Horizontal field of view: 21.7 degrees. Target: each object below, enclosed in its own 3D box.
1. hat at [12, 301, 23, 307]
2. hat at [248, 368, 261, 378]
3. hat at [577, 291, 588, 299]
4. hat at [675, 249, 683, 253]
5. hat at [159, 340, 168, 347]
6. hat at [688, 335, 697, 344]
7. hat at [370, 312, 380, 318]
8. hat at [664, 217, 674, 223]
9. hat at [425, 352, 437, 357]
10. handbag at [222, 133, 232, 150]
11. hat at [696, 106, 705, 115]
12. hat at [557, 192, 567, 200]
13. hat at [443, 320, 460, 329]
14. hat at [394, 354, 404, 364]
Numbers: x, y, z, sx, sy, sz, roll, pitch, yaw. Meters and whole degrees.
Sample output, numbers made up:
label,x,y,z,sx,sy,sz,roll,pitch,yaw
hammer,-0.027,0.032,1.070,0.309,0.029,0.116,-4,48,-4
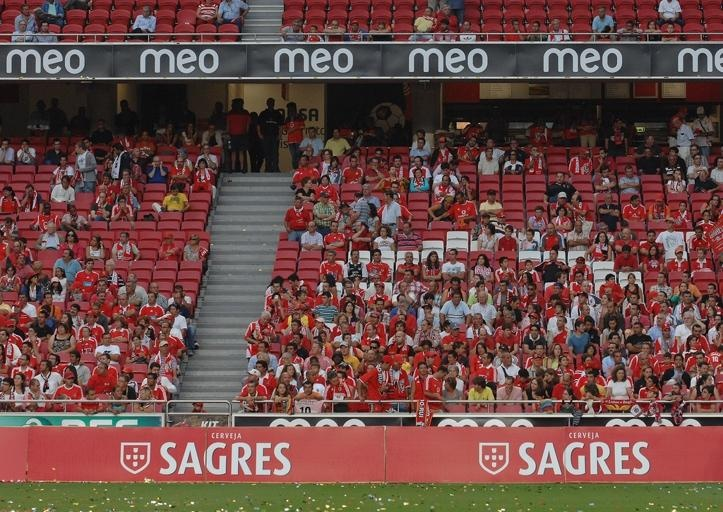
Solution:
label,x,y,z,sx,sy,sz,roll,pitch,yaw
hat,-7.481,1.069,40.887,0.114,0.083,0.180,11,23,12
hat,-2.246,2.441,39.060,0.203,0.084,0.148,31,-17,-27
hat,4.721,0.856,40.433,0.117,0.146,0.145,-7,20,35
hat,7.012,-0.081,41.717,0.131,0.095,0.207,-6,-13,1
hat,-4.198,1.867,39.681,0.155,0.107,0.243,4,-6,-10
hat,6.890,1.773,39.281,0.205,0.159,0.152,2,13,9
hat,0.274,1.280,39.867,0.155,0.073,0.108,20,-7,-33
hat,6.927,-0.775,42.321,0.122,0.113,0.142,4,-7,0
hat,1.440,2.059,38.979,0.099,0.086,0.238,12,17,44
handbag,-3.374,-2.777,46.709,0.134,0.339,0.244,-14,-5,-22
hat,8.364,-3.495,46.566,0.274,0.190,0.374,-1,18,8
hat,4.593,-1.336,43.279,0.190,0.098,0.300,1,-2,3
hat,1.914,1.496,40.225,0.253,0.081,0.165,25,6,32
hat,0.742,2.152,38.845,0.215,0.161,0.534,1,12,3
